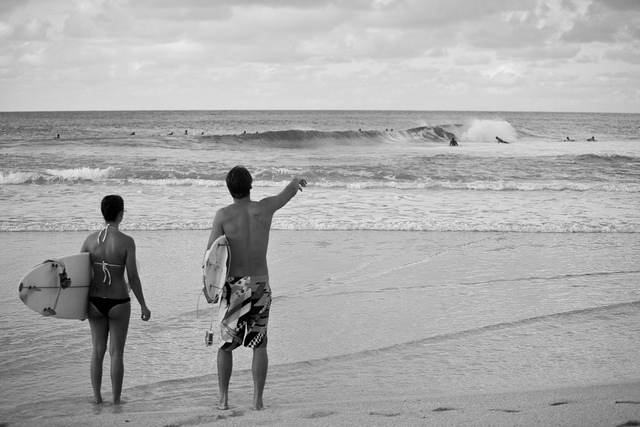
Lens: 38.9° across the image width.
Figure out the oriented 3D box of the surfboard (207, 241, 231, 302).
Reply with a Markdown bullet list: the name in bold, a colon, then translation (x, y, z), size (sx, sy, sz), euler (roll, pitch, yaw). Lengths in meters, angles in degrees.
- **surfboard**: translation (-1.365, 0.768, 12.073), size (0.306, 0.752, 0.194), euler (12, 4, -7)

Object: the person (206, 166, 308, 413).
- **person**: translation (-1.012, 1.016, 12.271), size (1.014, 3.272, 0.740), euler (0, 10, -2)
